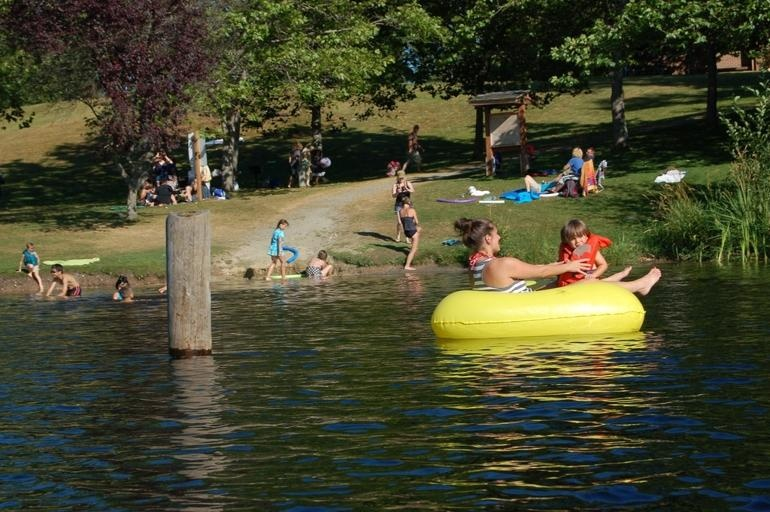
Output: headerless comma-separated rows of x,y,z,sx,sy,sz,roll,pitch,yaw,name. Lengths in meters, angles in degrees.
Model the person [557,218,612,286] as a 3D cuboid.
4.461,0.047,29.278,1.930,1.584,1.093,-2,16,2,person
